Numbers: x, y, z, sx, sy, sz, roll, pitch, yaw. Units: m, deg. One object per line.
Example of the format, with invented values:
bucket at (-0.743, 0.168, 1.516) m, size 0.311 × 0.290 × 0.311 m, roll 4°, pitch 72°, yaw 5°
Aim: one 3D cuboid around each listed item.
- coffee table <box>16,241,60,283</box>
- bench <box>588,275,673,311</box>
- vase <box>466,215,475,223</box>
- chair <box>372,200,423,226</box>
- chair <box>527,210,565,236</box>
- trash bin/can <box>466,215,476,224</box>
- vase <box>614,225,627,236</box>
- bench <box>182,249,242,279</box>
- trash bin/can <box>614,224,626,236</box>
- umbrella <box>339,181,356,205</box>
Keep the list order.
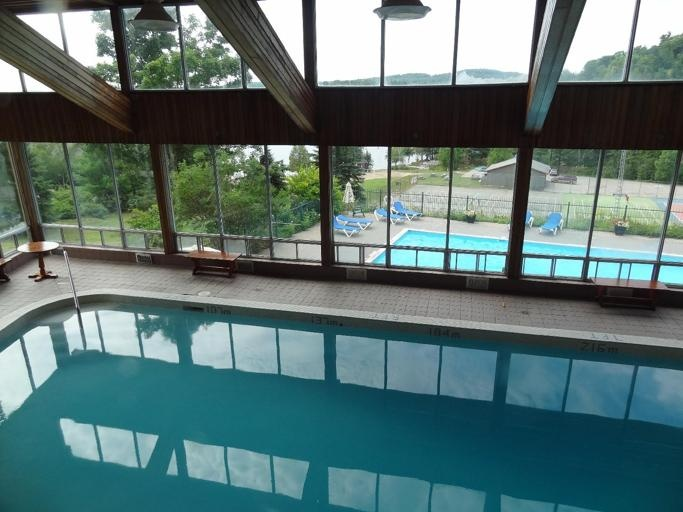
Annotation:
coffee table at (-9.253, 0.208, 14.342) m, size 0.969 × 0.871 × 0.992 m, roll 31°, pitch 31°, yaw 32°
bench at (7.163, 0.964, 11.802) m, size 1.669 × 0.680 × 0.771 m, roll 2°, pitch 31°, yaw 11°
vase at (3.479, -0.976, 12.719) m, size 0.265 × 0.170 × 0.191 m, roll 0°, pitch -3°, yaw 0°
chair at (1.626, -1.239, 13.128) m, size 1.117 × 0.472 × 0.587 m, roll 10°, pitch 36°, yaw 17°
chair at (5.295, -0.744, 12.175) m, size 0.528 × 0.547 × 0.862 m, roll 17°, pitch 52°, yaw 24°
trash bin/can at (3.474, -1.007, 12.707) m, size 0.298 × 0.197 × 0.211 m, roll -1°, pitch 26°, yaw -1°
vase at (7.003, -0.635, 11.864) m, size 0.290 × 0.191 × 0.266 m, roll 6°, pitch 8°, yaw 15°
bench at (-3.802, 0.220, 14.102) m, size 1.429 × 0.816 × 0.904 m, roll 3°, pitch -9°, yaw 4°
trash bin/can at (7.010, -0.642, 11.983) m, size 0.310 × 0.223 × 0.281 m, roll 6°, pitch 9°, yaw 10°
umbrella at (0.228, -1.732, 13.126) m, size 0.354 × 0.588 × 0.315 m, roll 5°, pitch -10°, yaw 0°
